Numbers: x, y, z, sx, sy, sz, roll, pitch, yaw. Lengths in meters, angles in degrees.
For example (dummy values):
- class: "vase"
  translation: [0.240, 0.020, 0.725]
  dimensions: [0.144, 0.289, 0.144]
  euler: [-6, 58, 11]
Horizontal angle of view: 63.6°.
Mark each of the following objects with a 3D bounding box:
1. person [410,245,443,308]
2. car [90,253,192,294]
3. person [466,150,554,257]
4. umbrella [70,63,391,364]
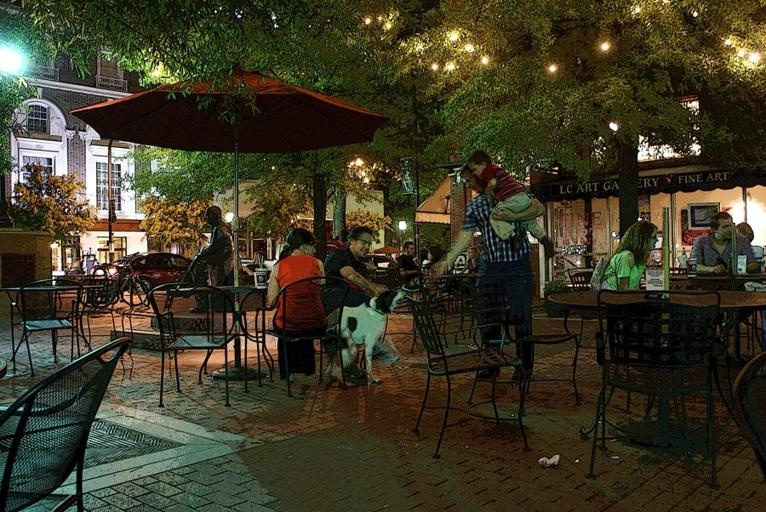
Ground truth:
- class: "person"
  translation: [0.817, 0.342, 11.477]
  dimensions: [0.471, 0.421, 1.428]
  euler: [-27, 3, 8]
- class: "car"
  translation: [-7.551, 0.526, 19.449]
  dimensions: [3.103, 1.025, 1.370]
  euler: [-5, 5, -36]
- class: "person"
  translation: [1.501, -0.630, 7.283]
  dimensions: [0.991, 1.276, 0.400]
  euler: [0, 1, 6]
- class: "umbrella"
  translation: [-2.002, -0.663, 8.932]
  dimensions: [3.587, 2.332, 3.576]
  euler: [-3, 4, -38]
